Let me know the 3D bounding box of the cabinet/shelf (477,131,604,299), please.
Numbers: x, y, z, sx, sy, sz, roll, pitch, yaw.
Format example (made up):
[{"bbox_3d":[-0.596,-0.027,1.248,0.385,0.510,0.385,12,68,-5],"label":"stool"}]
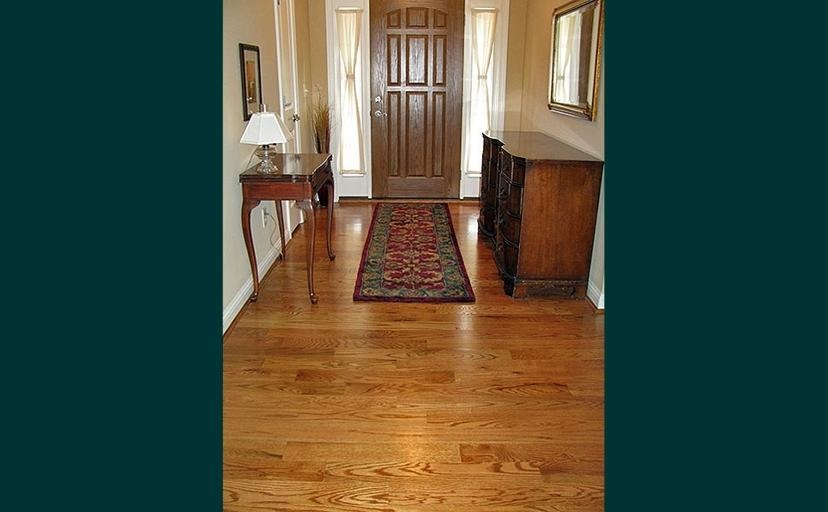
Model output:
[{"bbox_3d":[0.830,-0.246,3.798,0.448,0.650,1.129,1,25,1],"label":"cabinet/shelf"}]

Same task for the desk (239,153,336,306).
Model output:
[{"bbox_3d":[-0.843,-0.159,3.946,0.446,0.716,0.998,-1,22,-2],"label":"desk"}]

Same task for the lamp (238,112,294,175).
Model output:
[{"bbox_3d":[-0.827,-0.633,3.382,0.299,0.288,0.283,2,15,29],"label":"lamp"}]
